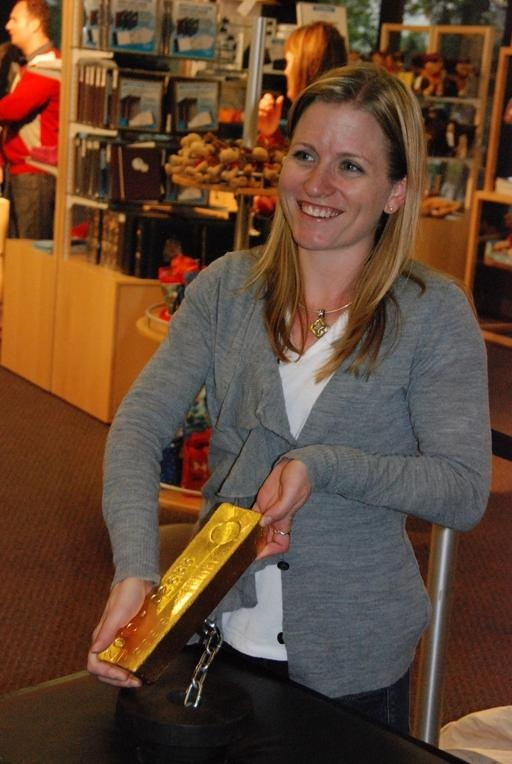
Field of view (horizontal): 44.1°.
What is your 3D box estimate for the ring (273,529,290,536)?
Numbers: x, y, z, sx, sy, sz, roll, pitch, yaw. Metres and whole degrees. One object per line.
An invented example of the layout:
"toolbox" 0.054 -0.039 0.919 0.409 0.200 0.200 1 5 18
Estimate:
"ring" 0.032 0.187 0.778 0.013 0.005 0.010 5 31 -28
